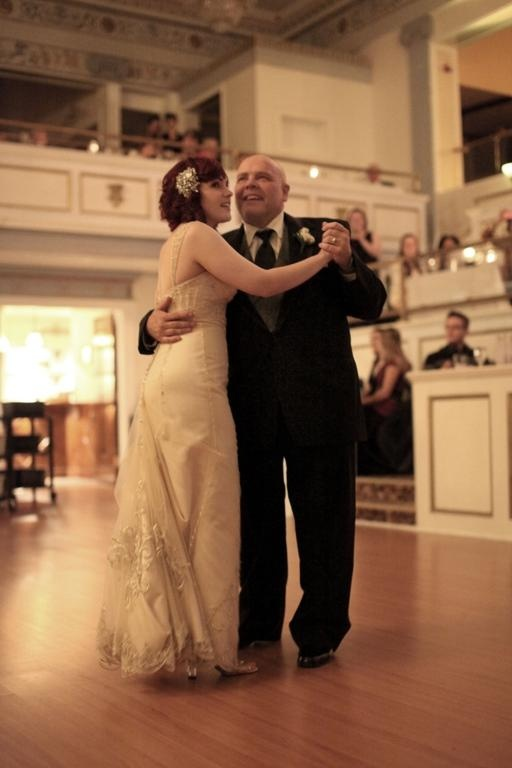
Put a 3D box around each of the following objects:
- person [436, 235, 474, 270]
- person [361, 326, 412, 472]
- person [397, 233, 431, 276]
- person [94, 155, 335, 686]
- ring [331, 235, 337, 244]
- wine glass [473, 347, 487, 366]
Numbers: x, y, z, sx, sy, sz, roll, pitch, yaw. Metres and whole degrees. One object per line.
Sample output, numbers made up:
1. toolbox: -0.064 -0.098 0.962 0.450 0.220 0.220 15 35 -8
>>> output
1. person: 2.273 -1.558 8.711 0.269 0.476 0.858 -2 3 14
2. person: 1.119 0.150 6.329 0.583 0.509 1.407 7 45 3
3. person: 1.924 -1.585 9.058 0.341 0.566 0.848 -2 3 11
4. person: -0.175 0.175 2.062 0.580 1.258 0.405 -4 4 -14
5. ring: 0.210 -0.390 1.996 0.026 0.023 0.006 -1 3 -11
6. wine glass: 1.853 -0.225 6.118 0.094 0.087 0.278 -1 3 11
